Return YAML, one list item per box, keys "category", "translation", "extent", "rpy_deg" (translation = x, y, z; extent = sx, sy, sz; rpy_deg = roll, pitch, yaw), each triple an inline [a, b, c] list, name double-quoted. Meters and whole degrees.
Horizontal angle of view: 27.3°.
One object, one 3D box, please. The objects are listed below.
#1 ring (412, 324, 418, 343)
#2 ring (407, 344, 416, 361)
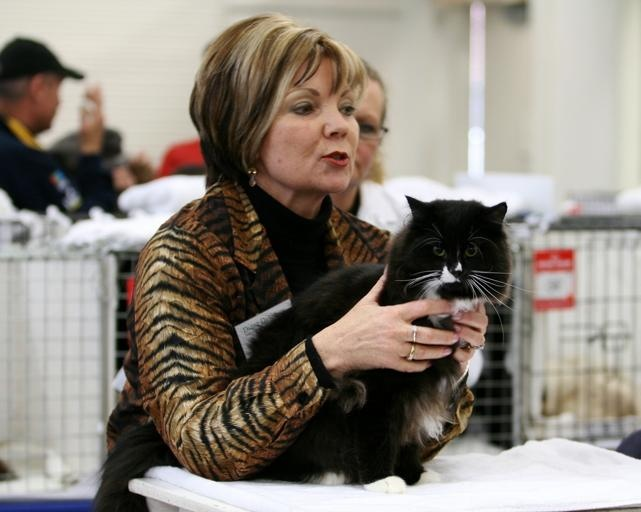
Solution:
- category: "ring"
  translation: [0.433, 0.359, 6.029]
  extent: [0.025, 0.073, 0.010]
  rpy_deg: [-2, 0, 0]
- category: "ring"
  translation: [0.420, 0.443, 6.058]
  extent: [0.022, 0.062, 0.047]
  rpy_deg: [26, -20, -8]
